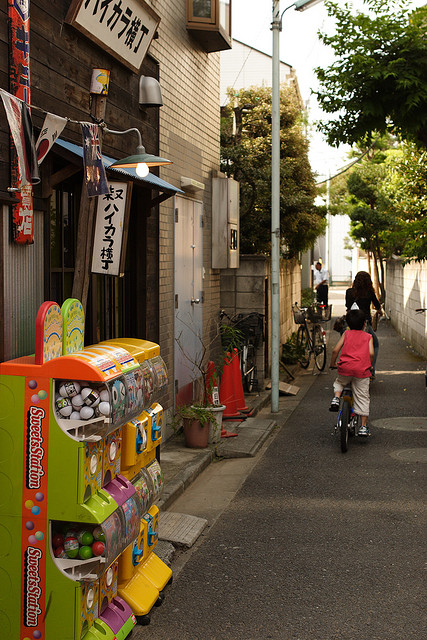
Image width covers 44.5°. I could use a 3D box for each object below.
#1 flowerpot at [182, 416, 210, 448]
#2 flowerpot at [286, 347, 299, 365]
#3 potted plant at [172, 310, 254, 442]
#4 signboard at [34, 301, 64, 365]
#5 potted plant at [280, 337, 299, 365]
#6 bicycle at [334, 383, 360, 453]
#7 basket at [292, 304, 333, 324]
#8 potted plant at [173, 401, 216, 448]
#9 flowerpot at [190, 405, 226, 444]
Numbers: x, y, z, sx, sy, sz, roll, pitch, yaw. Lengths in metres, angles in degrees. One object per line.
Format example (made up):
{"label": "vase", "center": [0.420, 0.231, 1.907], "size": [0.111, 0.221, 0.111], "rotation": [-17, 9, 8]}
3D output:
{"label": "flowerpot", "center": [-0.211, 1.483, 6.915], "size": [0.347, 0.350, 0.376], "rotation": [1, -2, -20]}
{"label": "flowerpot", "center": [2.216, 0.981, 14.453], "size": [0.334, 0.470, 0.418], "rotation": [-2, -4, 14]}
{"label": "potted plant", "center": [-0.028, 0.925, 8.355], "size": [0.556, 1.857, 1.784], "rotation": [2, 1, 22]}
{"label": "signboard", "center": [-0.689, 0.049, 2.218], "size": [0.024, 0.250, 0.177], "rotation": [4, 6, 12]}
{"label": "potted plant", "center": [2.145, 0.842, 14.624], "size": [0.515, 0.855, 0.814], "rotation": [-1, 4, 5]}
{"label": "bicycle", "center": [1.811, 1.249, 7.110], "size": [0.409, 0.567, 0.883], "rotation": [2, 6, 9]}
{"label": "basket", "center": [2.792, -0.153, 14.776], "size": [0.931, 0.492, 0.650], "rotation": [-1, 1, 16]}
{"label": "potted plant", "center": [-0.237, 1.356, 6.993], "size": [0.518, 0.556, 0.559], "rotation": [-1, -2, 25]}
{"label": "flowerpot", "center": [-0.079, 1.383, 7.152], "size": [0.445, 0.544, 0.496], "rotation": [1, 5, 24]}
